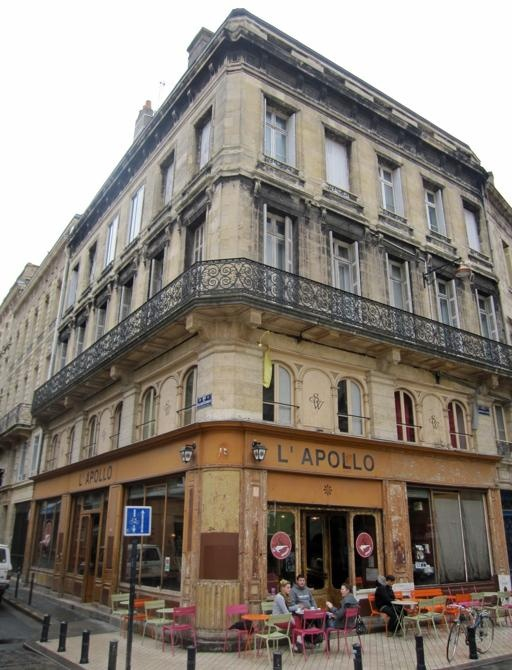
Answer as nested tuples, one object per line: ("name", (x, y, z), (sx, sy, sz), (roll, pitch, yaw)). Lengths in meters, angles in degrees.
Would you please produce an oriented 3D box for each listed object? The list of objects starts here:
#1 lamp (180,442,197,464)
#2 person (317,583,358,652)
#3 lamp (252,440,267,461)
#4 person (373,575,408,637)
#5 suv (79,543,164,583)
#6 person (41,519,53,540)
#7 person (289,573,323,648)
("lamp", (-1.545, 2.621, 10.970), (0.301, 0.447, 0.414), (12, -29, -25))
("person", (1.542, 5.332, 9.294), (0.623, 1.111, 0.500), (-1, -20, 31))
("lamp", (0.055, 2.501, 10.598), (0.251, 0.539, 0.283), (18, -37, -33))
("person", (2.821, 5.774, 10.495), (0.585, 1.113, 1.093), (-7, -27, 12))
("suv", (-2.995, 5.632, 12.484), (1.783, 1.039, 1.120), (-1, -35, 7))
("person", (-8.422, 8.032, 19.918), (0.279, 1.065, 1.378), (11, -29, -23))
("person", (0.930, 5.208, 9.306), (0.495, 1.167, 0.653), (1, -15, -16))
